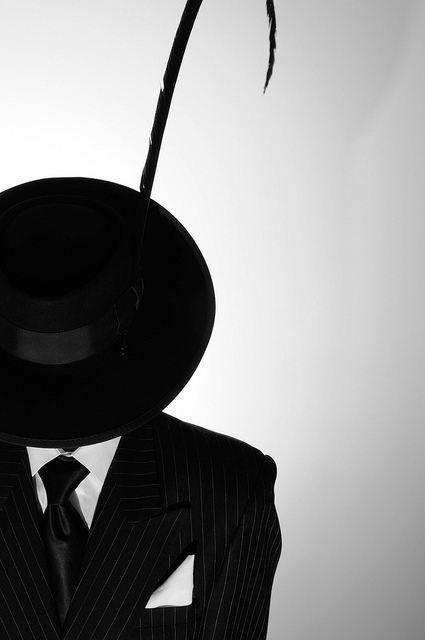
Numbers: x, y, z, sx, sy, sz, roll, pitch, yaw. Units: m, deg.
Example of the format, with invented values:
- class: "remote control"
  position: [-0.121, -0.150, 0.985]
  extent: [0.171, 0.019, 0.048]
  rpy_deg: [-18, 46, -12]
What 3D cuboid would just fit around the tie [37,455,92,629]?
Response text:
- class: "tie"
  position: [-0.210, 0.335, 0.994]
  extent: [0.092, 0.394, 0.052]
  rpy_deg: [3, -67, -15]
